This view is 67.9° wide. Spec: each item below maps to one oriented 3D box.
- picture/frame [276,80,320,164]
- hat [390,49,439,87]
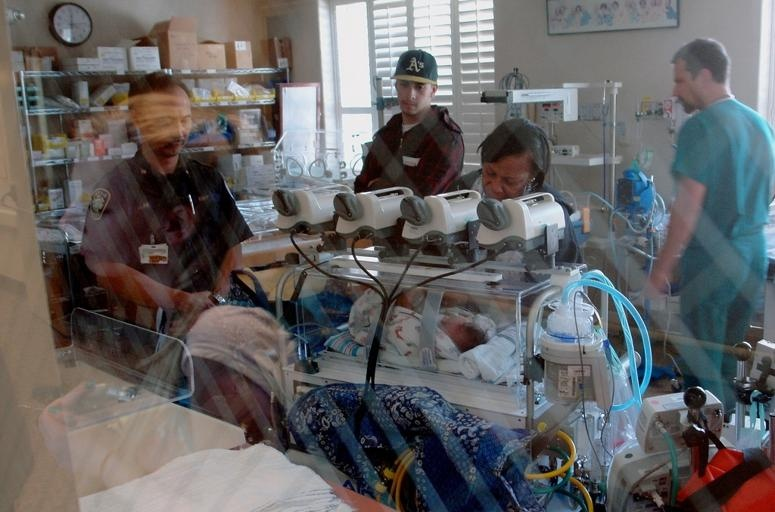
[{"bbox_3d":[-0.552,-0.852,3.664,0.279,0.491,0.481,-5,14,-7],"label":"picture/frame"},{"bbox_3d":[0.101,-0.711,2.169,0.113,0.089,0.153,23,22,35],"label":"hat"}]
